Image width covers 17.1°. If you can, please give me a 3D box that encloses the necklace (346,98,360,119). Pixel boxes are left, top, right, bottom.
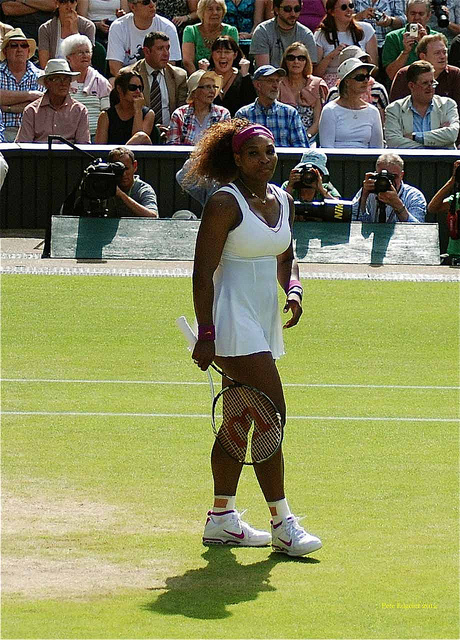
[{"bbox_3d":[1.240,-2.161,15.696,0.124,0.210,0.057,1,12,-2],"label":"necklace"}]

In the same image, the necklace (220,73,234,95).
[{"bbox_3d":[-0.031,-2.476,16.191,0.024,0.227,0.079,29,-5,4],"label":"necklace"}]

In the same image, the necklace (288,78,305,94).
[{"bbox_3d":[0.699,-2.481,16.247,0.109,0.114,0.112,7,31,18],"label":"necklace"}]

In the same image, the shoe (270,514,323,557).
[{"bbox_3d":[0.318,1.020,7.263,0.259,0.196,0.148,7,14,23],"label":"shoe"}]

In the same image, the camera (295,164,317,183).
[{"bbox_3d":[0.706,-1.335,14.023,0.154,0.158,0.151,-1,3,-1],"label":"camera"}]

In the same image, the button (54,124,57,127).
[{"bbox_3d":[-1.773,-1.998,15.772,0.024,0.025,0.006,1,2,-17],"label":"button"}]

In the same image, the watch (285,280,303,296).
[{"bbox_3d":[0.318,-0.163,7.635,0.068,0.064,0.068,-15,12,-4],"label":"watch"}]

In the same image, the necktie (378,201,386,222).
[{"bbox_3d":[1.425,-1.012,14.444,0.072,0.195,0.166,2,13,5],"label":"necktie"}]

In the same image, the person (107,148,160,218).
[{"bbox_3d":[-0.868,-1.294,14.422,0.392,0.669,0.761,9,14,30],"label":"person"}]

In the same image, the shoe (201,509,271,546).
[{"bbox_3d":[0.030,0.993,7.376,0.339,0.183,0.085,-2,13,-16],"label":"shoe"}]

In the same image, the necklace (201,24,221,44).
[{"bbox_3d":[-0.213,-3.215,17.292,0.245,0.210,0.116,5,13,14],"label":"necklace"}]

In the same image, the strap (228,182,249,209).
[{"bbox_3d":[0.041,-0.601,7.260,0.021,0.091,0.053,-37,-1,0],"label":"strap"}]

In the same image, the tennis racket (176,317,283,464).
[{"bbox_3d":[0.005,0.372,7.682,0.823,0.337,0.064,55,21,22],"label":"tennis racket"}]

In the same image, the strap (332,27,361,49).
[{"bbox_3d":[1.311,-3.213,17.486,0.254,0.352,0.241,-8,9,9],"label":"strap"}]

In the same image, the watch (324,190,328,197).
[{"bbox_3d":[0.895,-1.187,14.418,0.016,0.066,0.069,11,53,9],"label":"watch"}]

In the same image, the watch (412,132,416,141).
[{"bbox_3d":[1.917,-1.919,16.075,0.050,0.070,0.025,0,-3,-5],"label":"watch"}]

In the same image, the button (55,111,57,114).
[{"bbox_3d":[-1.761,-2.125,15.737,0.021,0.026,0.007,2,12,4],"label":"button"}]

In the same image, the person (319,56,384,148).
[{"bbox_3d":[1.235,-2.188,15.601,0.643,0.927,0.624,2,12,3],"label":"person"}]

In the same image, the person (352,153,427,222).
[{"bbox_3d":[1.419,-1.222,14.345,0.663,0.673,1.120,6,14,20],"label":"person"}]

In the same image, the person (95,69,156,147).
[{"bbox_3d":[-1.021,-2.176,15.746,0.577,0.791,0.699,-5,14,-26],"label":"person"}]

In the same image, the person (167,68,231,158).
[{"bbox_3d":[-0.331,-1.869,15.515,0.632,1.265,0.571,0,2,8],"label":"person"}]

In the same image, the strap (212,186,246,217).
[{"bbox_3d":[0.021,-0.565,7.211,0.125,0.128,0.032,13,41,33],"label":"strap"}]

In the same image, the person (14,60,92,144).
[{"bbox_3d":[-1.793,-2.230,15.770,0.734,0.852,0.628,13,17,43],"label":"person"}]

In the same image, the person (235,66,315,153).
[{"bbox_3d":[0.404,-2.027,15.403,0.768,1.162,0.665,-2,-10,6],"label":"person"}]

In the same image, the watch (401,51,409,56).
[{"bbox_3d":[1.991,-3.045,17.532,0.068,0.018,0.066,2,-8,7],"label":"watch"}]

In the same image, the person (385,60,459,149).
[{"bbox_3d":[2.020,-2.229,16.138,0.884,1.258,0.669,-3,11,-6],"label":"person"}]

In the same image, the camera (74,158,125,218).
[{"bbox_3d":[-1.178,-1.212,14.111,0.544,0.818,0.456,1,1,-7],"label":"camera"}]

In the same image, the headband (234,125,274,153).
[{"bbox_3d":[0.141,-0.868,7.373,0.211,0.132,0.136,-9,17,-40],"label":"headband"}]
